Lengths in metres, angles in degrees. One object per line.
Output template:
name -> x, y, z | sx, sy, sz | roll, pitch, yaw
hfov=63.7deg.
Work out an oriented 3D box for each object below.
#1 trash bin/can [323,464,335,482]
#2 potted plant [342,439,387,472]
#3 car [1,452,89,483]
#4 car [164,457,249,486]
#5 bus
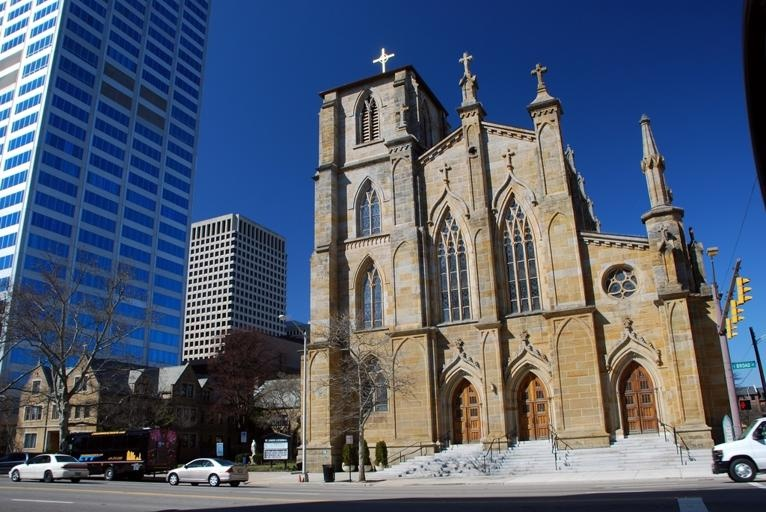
trash bin/can -> -3.529, 14.404, 41.014 | 0.632, 1.110, 0.620 | 3, -21, -17
potted plant -> -1.284, 14.818, 45.648 | 3.561, 2.007, 1.898 | -7, -20, 10
car -> -22.235, 14.112, 41.159 | 5.654, 1.597, 2.192 | -6, -24, 18
car -> -11.215, 13.984, 39.988 | 4.738, 1.807, 1.772 | -9, -20, 14
bus -> -19.338, 15.497, 46.840 | 9.459, 3.924, 3.669 | -2, -12, 13
